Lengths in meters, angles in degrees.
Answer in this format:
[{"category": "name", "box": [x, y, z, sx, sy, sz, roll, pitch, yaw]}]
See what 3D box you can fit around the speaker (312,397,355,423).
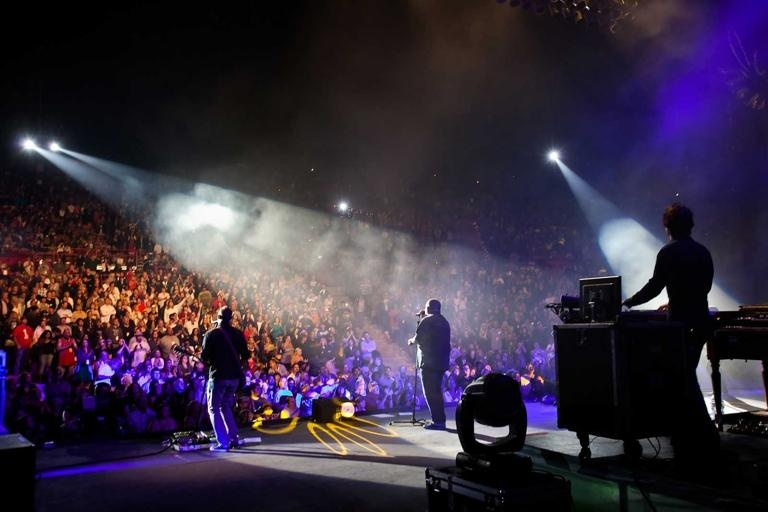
[{"category": "speaker", "box": [-1.028, 3.013, 11.368, 0.818, 0.370, 0.395, -1, 4, -12]}]
